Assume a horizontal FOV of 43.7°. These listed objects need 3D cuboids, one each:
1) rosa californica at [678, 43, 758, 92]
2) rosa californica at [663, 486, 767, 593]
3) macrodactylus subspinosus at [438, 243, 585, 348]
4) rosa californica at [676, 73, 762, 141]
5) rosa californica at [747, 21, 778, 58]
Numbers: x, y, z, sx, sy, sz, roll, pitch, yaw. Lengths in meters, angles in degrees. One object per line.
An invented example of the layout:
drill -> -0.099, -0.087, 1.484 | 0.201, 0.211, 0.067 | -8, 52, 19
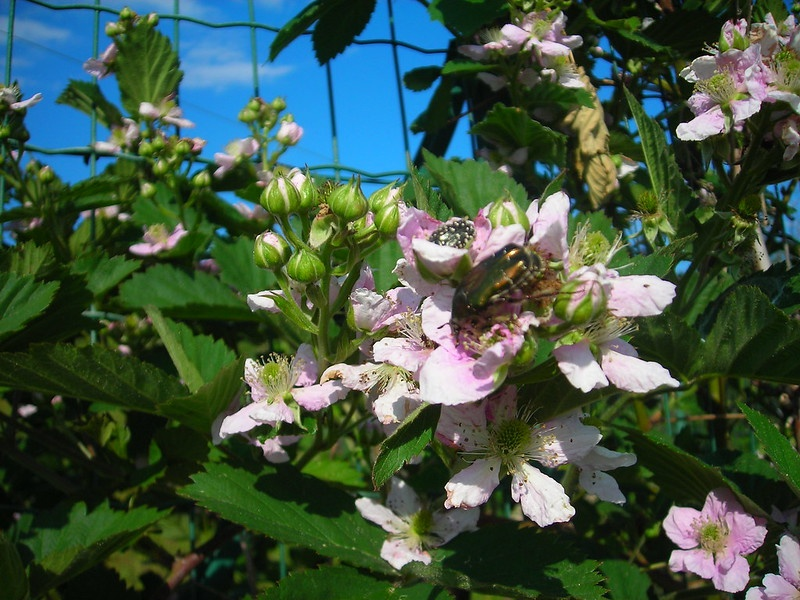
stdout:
rosa californica -> 1.151, -0.834, 3.534 | 0.172, 0.165, 0.135 | 11, 22, 40
rosa californica -> 1.031, 0.790, 3.368 | 0.352, 0.339, 0.149 | 33, 9, 29
macrodactylus subspinosus -> 0.329, -0.039, 3.013 | 0.302, 0.287, 0.386 | 3, 17, -4
rosa californica -> 1.146, -0.697, 3.554 | 0.185, 0.254, 0.260 | 12, 19, 35
rosa californica -> 1.289, -0.920, 3.562 | 0.049, 0.153, 0.132 | 11, 22, 35
